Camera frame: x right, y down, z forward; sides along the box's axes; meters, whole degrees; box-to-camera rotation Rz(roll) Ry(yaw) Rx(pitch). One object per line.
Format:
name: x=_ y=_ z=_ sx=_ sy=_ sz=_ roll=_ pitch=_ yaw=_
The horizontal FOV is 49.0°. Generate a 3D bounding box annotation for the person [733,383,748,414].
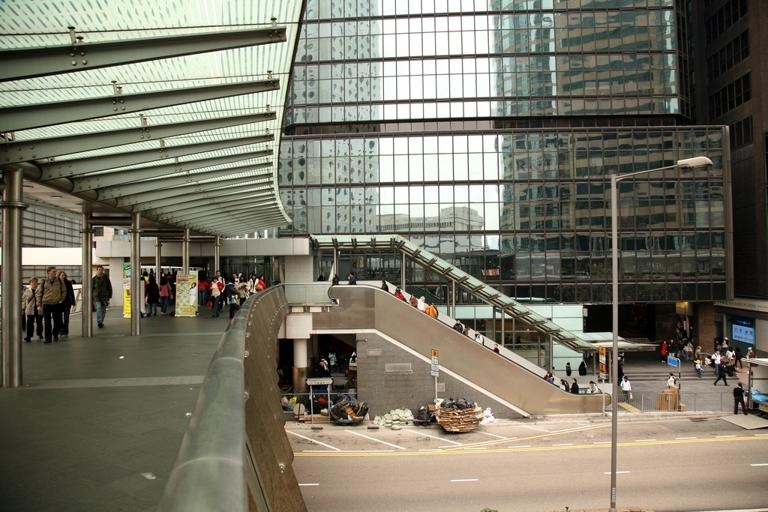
person: x=20.420 y=8.099 z=48.394 sx=0.678 sy=1.551 sz=1.937 roll=-1 pitch=-2 yaw=23

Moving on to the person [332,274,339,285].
person: x=-2.780 y=1.244 z=47.782 sx=0.341 sy=0.652 sz=1.015 roll=0 pitch=-2 yaw=-4

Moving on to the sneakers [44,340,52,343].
sneakers: x=-13.710 y=3.401 z=34.368 sx=0.292 sy=0.173 sz=0.521 roll=1 pitch=-3 yaw=-25

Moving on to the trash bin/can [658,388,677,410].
trash bin/can: x=16.822 y=8.462 z=49.958 sx=1.274 sy=1.370 sz=1.000 roll=-1 pitch=-11 yaw=9

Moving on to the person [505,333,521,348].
person: x=9.121 y=5.834 z=59.389 sx=0.940 sy=1.032 sz=0.237 roll=-4 pitch=-14 yaw=20

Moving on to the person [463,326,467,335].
person: x=4.643 y=4.215 z=48.147 sx=0.201 sy=0.409 sz=0.786 roll=-1 pitch=-2 yaw=11

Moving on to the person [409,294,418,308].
person: x=1.662 y=2.487 z=47.674 sx=0.467 sy=0.668 sz=1.124 roll=0 pitch=-2 yaw=2

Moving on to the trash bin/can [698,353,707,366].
trash bin/can: x=23.056 y=7.384 z=61.164 sx=0.440 sy=0.615 sz=0.844 roll=-2 pitch=-4 yaw=18

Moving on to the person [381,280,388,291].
person: x=-0.004 y=1.636 z=47.934 sx=0.210 sy=0.754 sz=0.301 roll=-7 pitch=8 yaw=22

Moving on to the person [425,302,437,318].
person: x=2.666 y=3.038 z=48.428 sx=0.504 sy=1.047 sz=0.331 roll=-3 pitch=-13 yaw=22
